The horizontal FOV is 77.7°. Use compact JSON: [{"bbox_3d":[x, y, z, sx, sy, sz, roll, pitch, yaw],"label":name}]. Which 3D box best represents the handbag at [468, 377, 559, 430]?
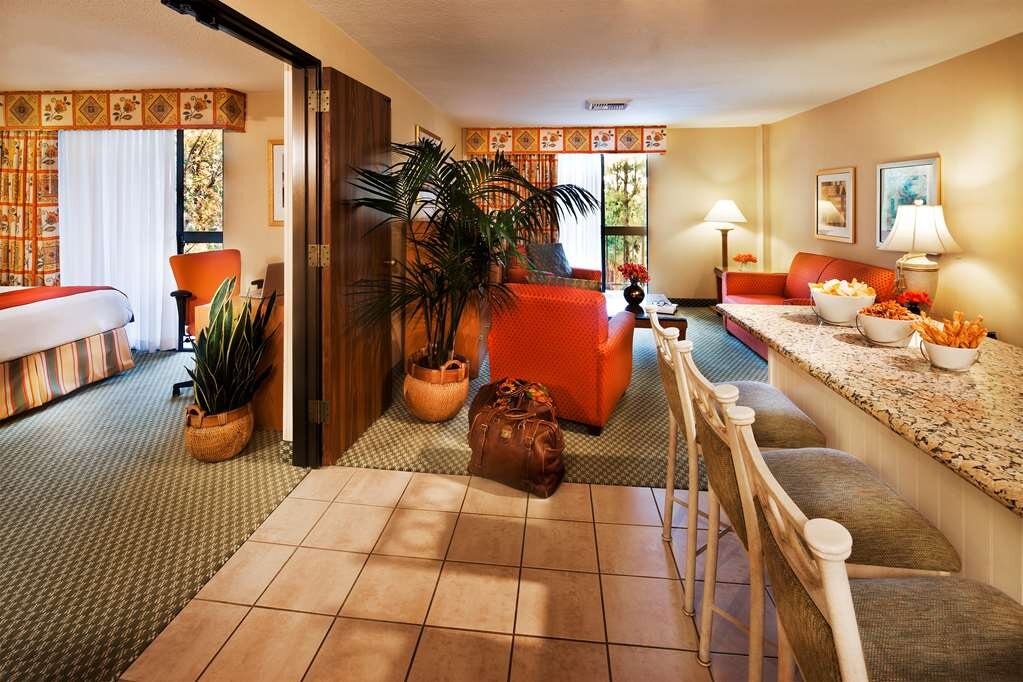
[{"bbox_3d":[-0.008,0.378,4.280,0.511,0.466,0.283,-1,-3,9],"label":"handbag"}]

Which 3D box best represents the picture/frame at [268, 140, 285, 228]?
[{"bbox_3d":[-2.420,-1.618,6.558,0.149,0.860,0.124,1,13,1],"label":"picture/frame"}]

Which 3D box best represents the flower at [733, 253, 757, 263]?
[{"bbox_3d":[3.140,-1.108,8.556,0.175,0.089,0.182,-7,4,-2],"label":"flower"}]

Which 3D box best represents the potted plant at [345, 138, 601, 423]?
[{"bbox_3d":[-0.324,-0.767,5.537,2.144,2.345,1.999,5,13,11],"label":"potted plant"}]

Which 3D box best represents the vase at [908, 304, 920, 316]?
[{"bbox_3d":[2.144,-0.171,3.414,0.066,0.092,0.068,1,2,31],"label":"vase"}]

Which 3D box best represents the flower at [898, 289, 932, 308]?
[{"bbox_3d":[2.202,-0.225,3.502,0.117,0.092,0.121,2,0,35],"label":"flower"}]

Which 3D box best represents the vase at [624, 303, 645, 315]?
[{"bbox_3d":[1.368,-0.340,7.011,0.184,0.122,0.192,0,2,-1],"label":"vase"}]

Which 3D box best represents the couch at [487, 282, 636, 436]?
[{"bbox_3d":[0.413,-0.099,5.193,1.145,1.448,1.028,5,14,26],"label":"couch"}]

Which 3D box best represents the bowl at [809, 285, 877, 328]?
[{"bbox_3d":[1.788,-0.188,3.470,0.325,0.164,0.343,-7,11,1],"label":"bowl"}]
